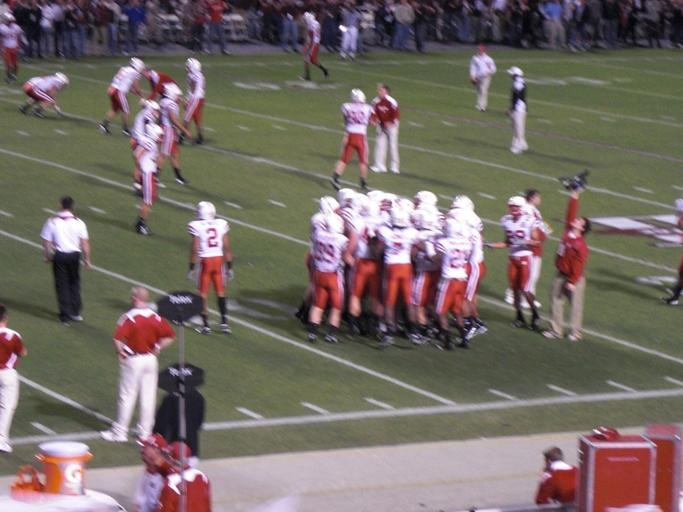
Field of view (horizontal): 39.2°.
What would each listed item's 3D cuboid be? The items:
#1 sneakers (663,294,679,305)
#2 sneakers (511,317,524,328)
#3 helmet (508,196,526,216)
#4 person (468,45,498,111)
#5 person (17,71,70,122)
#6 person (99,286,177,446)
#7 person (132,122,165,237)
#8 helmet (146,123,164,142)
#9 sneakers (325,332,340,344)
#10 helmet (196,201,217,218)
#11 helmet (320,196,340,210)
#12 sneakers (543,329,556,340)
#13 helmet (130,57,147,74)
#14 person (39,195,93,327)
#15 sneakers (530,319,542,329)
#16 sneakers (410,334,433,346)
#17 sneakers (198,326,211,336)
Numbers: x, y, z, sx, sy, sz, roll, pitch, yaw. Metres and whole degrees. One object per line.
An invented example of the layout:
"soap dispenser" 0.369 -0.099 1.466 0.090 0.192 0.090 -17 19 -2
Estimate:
"sneakers" 5.404 0.708 15.729 0.311 0.188 0.103 9 24 21
"sneakers" 2.662 0.972 14.487 0.191 0.101 0.102 0 29 -2
"helmet" 2.570 -0.739 14.085 0.361 0.305 0.269 4 15 8
"person" 3.752 -4.780 25.748 0.632 1.717 0.944 5 12 8
"person" -6.798 -3.669 21.665 1.071 0.979 0.777 -3 23 -41
"person" -2.262 1.227 10.553 0.763 1.744 0.486 0 12 -14
"person" -3.350 -1.329 16.386 0.407 1.873 0.784 0 12 -12
"helmet" -3.266 -2.163 16.558 0.372 0.254 0.294 19 6 -7
"sneakers" -0.151 1.120 13.508 0.194 0.153 0.196 3 11 3
"helmet" -1.888 -0.637 13.144 0.231 0.243 0.392 1 11 -9
"helmet" -0.178 -0.729 13.121 0.255 0.165 0.322 3 10 1
"sneakers" 3.071 1.146 14.194 0.113 0.070 0.229 1 4 -8
"helmet" -4.416 -4.095 20.518 0.233 0.295 0.674 0 11 -16
"person" -3.833 0.042 13.183 0.611 1.796 0.596 -1 12 -16
"sneakers" 2.917 1.008 14.466 0.138 0.196 0.112 -5 34 -1
"sneakers" 1.087 1.160 13.544 0.197 0.075 0.182 -2 22 -37
"sneakers" -1.960 1.030 13.475 0.091 0.108 0.261 18 -1 -42
